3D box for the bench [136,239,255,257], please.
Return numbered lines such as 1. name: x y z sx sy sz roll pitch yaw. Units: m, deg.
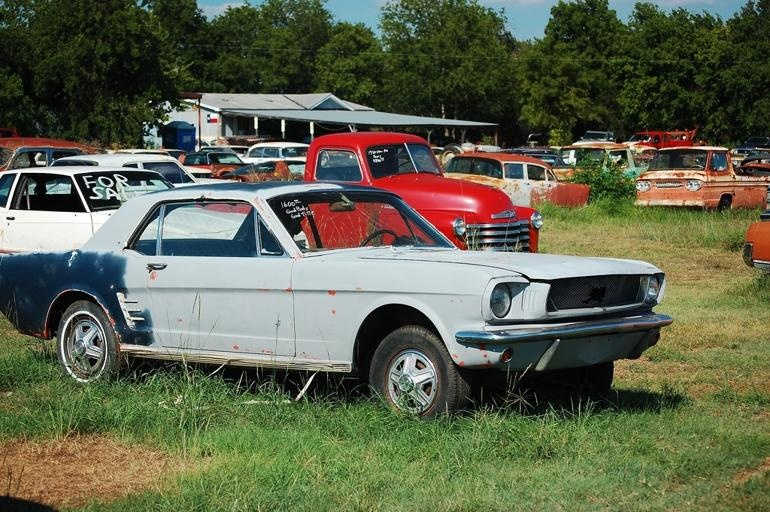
1. bench: -1.905 -0.081 8.734 1.156 0.171 0.114 3 -15 16
